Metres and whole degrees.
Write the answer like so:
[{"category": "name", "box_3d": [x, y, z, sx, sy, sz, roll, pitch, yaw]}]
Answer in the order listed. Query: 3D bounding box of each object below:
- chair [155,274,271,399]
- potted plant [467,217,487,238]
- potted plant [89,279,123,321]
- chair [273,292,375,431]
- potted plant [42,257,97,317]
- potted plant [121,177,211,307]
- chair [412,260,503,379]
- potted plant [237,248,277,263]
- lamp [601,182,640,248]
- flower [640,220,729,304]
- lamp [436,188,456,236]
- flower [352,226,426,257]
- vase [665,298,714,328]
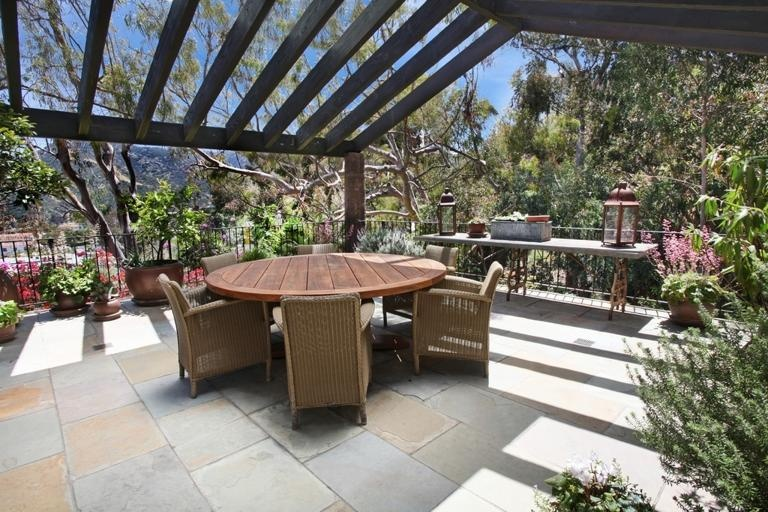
[{"category": "chair", "box_3d": [-1.884, 0.709, 5.230, 1.205, 1.557, 1.146, -5, 8, -36]}, {"category": "potted plant", "box_3d": [1.506, -0.452, 7.276, 0.305, 0.272, 0.310, -1, -1, -8]}, {"category": "potted plant", "box_3d": [-3.995, 0.653, 6.478, 0.373, 0.534, 0.229, -1, 7, 9]}, {"category": "chair", "box_3d": [-0.562, 0.896, 4.490, 1.039, 1.357, 0.963, -3, 14, -4]}, {"category": "potted plant", "box_3d": [-4.538, 0.485, 6.529, 0.652, 0.800, 0.423, -5, 7, -28]}, {"category": "potted plant", "box_3d": [-3.401, -0.236, 7.270, 1.136, 1.705, 1.274, -2, -5, 25]}, {"category": "chair", "box_3d": [0.801, 0.666, 5.059, 0.902, 1.080, 0.826, 3, 5, 10]}, {"category": "potted plant", "box_3d": [-2.260, -0.010, 8.016, 0.425, 0.274, 0.438, 0, -2, 3]}, {"category": "lamp", "box_3d": [3.059, -0.546, 5.851, 0.410, 0.850, 0.339, 1, 8, 27]}, {"category": "flower", "box_3d": [4.061, 0.192, 5.951, 0.864, 1.146, 0.864, 24, -16, -9]}, {"category": "lamp", "box_3d": [1.021, -0.726, 7.351, 0.261, 0.777, 0.299, -1, 7, 10]}, {"category": "flower", "box_3d": [0.097, -0.226, 7.845, 0.705, 0.448, 0.718, -1, 2, -43]}, {"category": "vase", "box_3d": [3.425, 0.637, 5.056, 0.459, 0.334, 0.471, 0, -5, 5]}]
